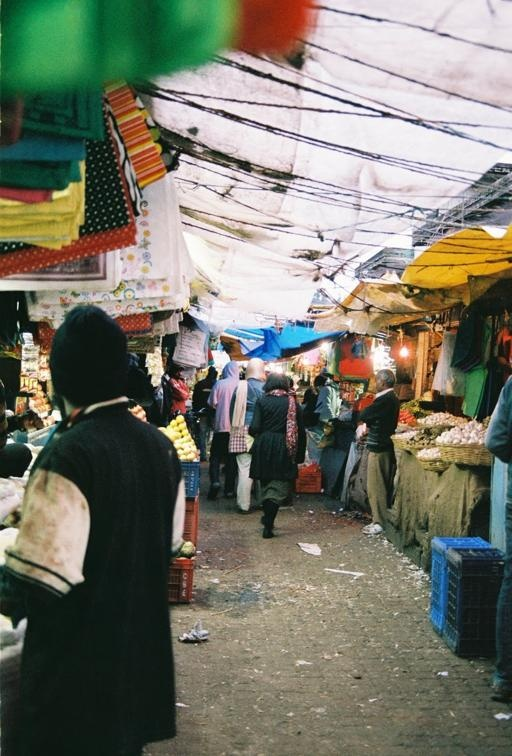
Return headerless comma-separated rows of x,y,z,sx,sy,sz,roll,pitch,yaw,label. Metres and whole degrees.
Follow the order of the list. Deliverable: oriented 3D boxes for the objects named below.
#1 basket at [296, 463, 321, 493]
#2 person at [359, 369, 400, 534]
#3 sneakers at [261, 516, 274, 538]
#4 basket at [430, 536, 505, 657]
0.862,1.733,11.064,0.735,0.515,0.717,0,-2,1,basket
1.576,0.909,8.048,0.458,1.873,0.818,2,-1,12,person
0.134,1.766,7.408,0.151,0.244,0.325,3,-1,0,sneakers
1.419,1.516,4.404,0.559,0.616,0.538,1,2,-3,basket
